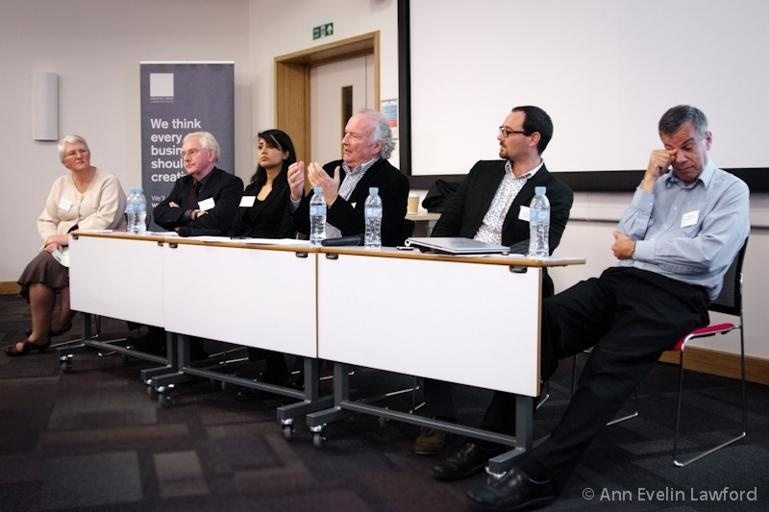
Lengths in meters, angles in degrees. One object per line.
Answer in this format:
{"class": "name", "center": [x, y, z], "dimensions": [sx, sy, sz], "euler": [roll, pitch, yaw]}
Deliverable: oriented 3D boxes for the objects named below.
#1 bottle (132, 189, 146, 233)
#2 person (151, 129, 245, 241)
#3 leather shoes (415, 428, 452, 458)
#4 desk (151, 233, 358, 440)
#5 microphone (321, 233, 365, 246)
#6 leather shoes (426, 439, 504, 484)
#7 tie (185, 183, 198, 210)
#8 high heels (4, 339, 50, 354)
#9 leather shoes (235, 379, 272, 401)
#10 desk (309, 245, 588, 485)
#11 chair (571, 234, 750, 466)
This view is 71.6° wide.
{"class": "bottle", "center": [-1.846, -0.363, 4.012], "dimensions": [0.092, 0.305, 0.611], "euler": [-4, 10, -25]}
{"class": "person", "center": [-1.431, -0.491, 4.168], "dimensions": [0.663, 0.907, 0.515], "euler": [-2, -3, 17]}
{"class": "leather shoes", "center": [0.249, 0.933, 2.646], "dimensions": [0.119, 0.127, 0.297], "euler": [-2, -13, 9]}
{"class": "desk", "center": [-0.686, 0.345, 3.480], "dimensions": [1.515, 1.243, 0.925], "euler": [4, 7, 32]}
{"class": "microphone", "center": [-0.187, -0.092, 2.876], "dimensions": [0.307, 0.073, 0.069], "euler": [-3, 3, -40]}
{"class": "leather shoes", "center": [0.398, 0.947, 2.544], "dimensions": [0.369, 0.132, 0.130], "euler": [-8, 7, -29]}
{"class": "tie", "center": [-1.485, -0.471, 4.168], "dimensions": [0.047, 0.182, 0.128], "euler": [11, -15, -26]}
{"class": "high heels", "center": [-2.752, 0.696, 4.109], "dimensions": [0.267, 0.096, 0.114], "euler": [5, -5, -28]}
{"class": "leather shoes", "center": [-0.825, 0.858, 3.309], "dimensions": [0.144, 0.066, 0.201], "euler": [1, 1, -2]}
{"class": "desk", "center": [0.235, 0.394, 2.697], "dimensions": [1.143, 0.829, 0.627], "euler": [3, 6, 23]}
{"class": "chair", "center": [1.505, 0.392, 2.902], "dimensions": [0.784, 1.167, 0.765], "euler": [-4, 6, -42]}
